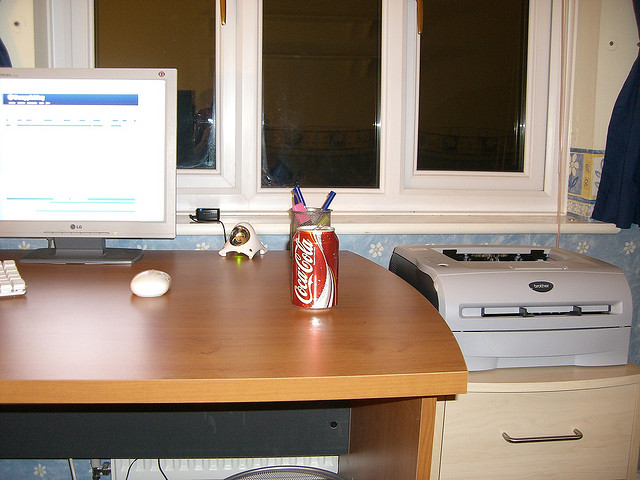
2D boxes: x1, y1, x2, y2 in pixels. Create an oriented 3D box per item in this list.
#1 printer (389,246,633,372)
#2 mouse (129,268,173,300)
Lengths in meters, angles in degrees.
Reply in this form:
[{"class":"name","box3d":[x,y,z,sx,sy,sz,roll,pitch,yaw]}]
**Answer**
[{"class":"printer","box3d":[0.570,0.183,1.580,0.506,0.267,0.379,0,7,-4]},{"class":"mouse","box3d":[-0.427,0.108,1.492,0.125,0.059,0.104,-11,14,-33]}]
